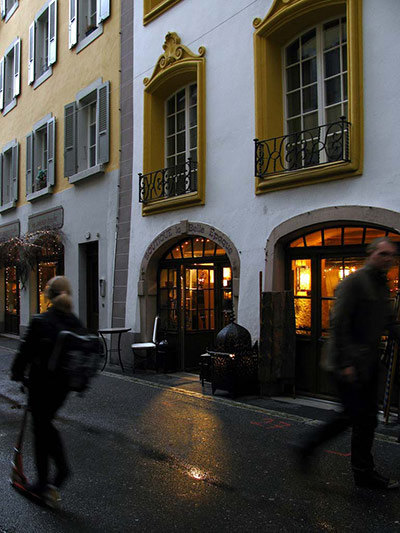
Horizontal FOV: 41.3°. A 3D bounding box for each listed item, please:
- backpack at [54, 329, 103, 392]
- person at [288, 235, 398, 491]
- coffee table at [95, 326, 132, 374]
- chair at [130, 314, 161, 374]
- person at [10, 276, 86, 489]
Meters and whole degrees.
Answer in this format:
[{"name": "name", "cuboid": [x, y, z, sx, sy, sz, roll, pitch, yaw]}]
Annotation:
[{"name": "backpack", "cuboid": [-0.890, 0.690, 3.813, 0.229, 0.514, 0.401, 20, -18, -26]}, {"name": "person", "cuboid": [1.088, 0.705, 3.758, 0.624, 1.799, 0.557, 2, -4, -42]}, {"name": "coffee table", "cuboid": [-1.823, 1.730, 10.975, 0.519, 0.828, 0.611, -4, -6, 1]}, {"name": "chair", "cuboid": [-1.086, 1.481, 10.338, 0.504, 1.115, 0.552, 3, -3, 10]}, {"name": "person", "cuboid": [-1.065, 0.840, 3.711, 0.503, 1.541, 0.353, 1, -3, -24]}]
